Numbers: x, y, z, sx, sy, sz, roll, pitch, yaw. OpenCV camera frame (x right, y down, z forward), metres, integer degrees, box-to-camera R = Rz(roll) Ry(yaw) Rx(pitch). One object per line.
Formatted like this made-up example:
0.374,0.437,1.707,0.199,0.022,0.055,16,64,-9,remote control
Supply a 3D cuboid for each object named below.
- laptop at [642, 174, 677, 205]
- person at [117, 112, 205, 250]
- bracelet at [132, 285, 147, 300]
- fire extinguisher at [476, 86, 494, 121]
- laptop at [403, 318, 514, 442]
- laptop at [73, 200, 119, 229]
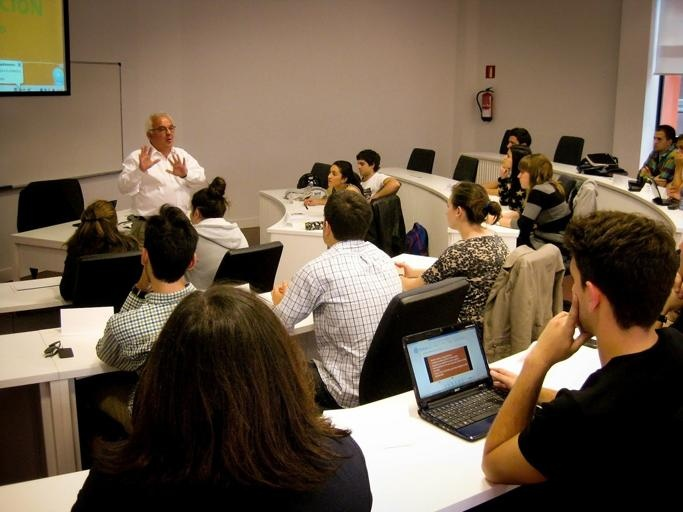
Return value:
3.252,-0.672,4.804,0.148,0.121,0.412,-5,18,0,laptop
-1.682,-0.341,4.471,0.549,1.906,0.703,7,10,32,person
-0.894,0.158,2.078,0.057,0.049,0.059,7,5,38,bracelet
2.542,-2.687,8.323,0.319,0.573,0.208,5,13,19,fire extinguisher
0.409,0.443,1.718,0.353,0.293,0.319,-14,26,-33,laptop
-1.862,-0.310,3.520,0.285,0.214,0.270,3,7,33,laptop
